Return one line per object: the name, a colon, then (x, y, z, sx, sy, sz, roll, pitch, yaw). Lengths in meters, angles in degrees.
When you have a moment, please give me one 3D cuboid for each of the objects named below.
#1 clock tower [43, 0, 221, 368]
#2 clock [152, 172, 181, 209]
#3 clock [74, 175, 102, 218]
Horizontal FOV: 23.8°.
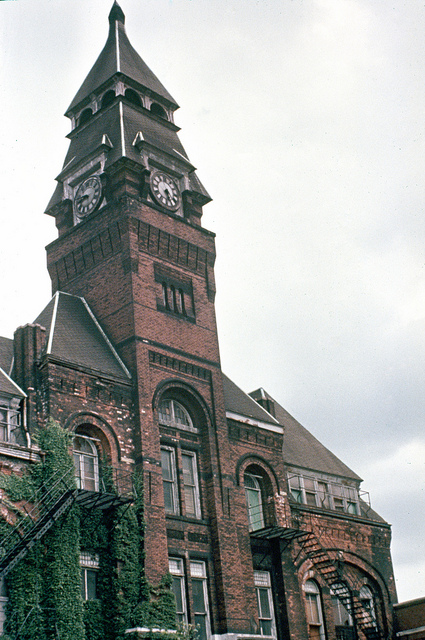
clock tower: (-4.005, -6.954, 46.781, 6.754, 20.082, 5.650, -5, -24, -6)
clock: (-2.184, -5.897, 46.231, 0.146, 1.642, 1.717, -31, -48, 29)
clock: (-5.747, -5.684, 46.318, 0.439, 2.186, 2.021, 9, -28, -34)
